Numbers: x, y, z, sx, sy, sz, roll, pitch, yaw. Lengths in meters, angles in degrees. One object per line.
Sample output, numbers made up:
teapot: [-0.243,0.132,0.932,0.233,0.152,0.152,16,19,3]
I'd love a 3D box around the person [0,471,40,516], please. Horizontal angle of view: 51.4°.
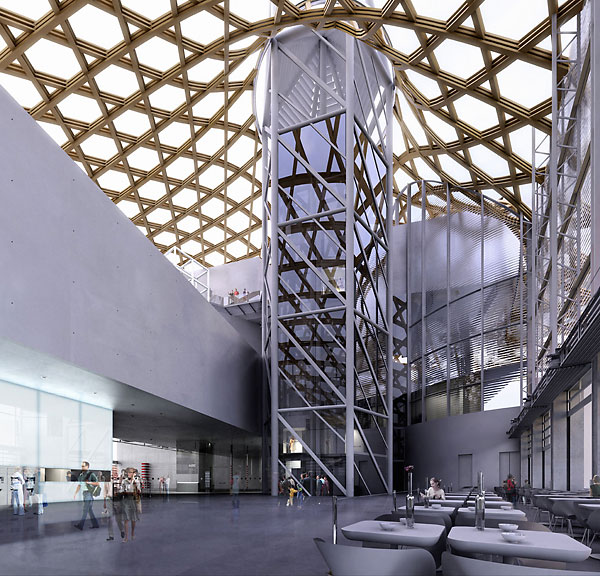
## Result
person: [-6.828,4.969,15.338,0.293,1.049,1.269,-4,-17,8]
